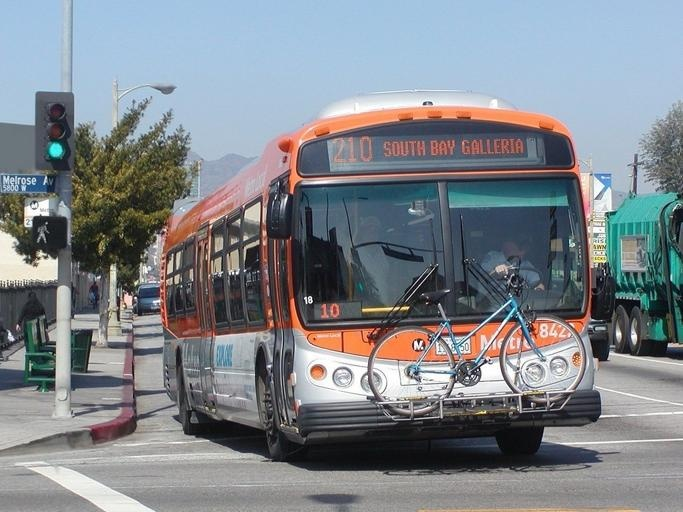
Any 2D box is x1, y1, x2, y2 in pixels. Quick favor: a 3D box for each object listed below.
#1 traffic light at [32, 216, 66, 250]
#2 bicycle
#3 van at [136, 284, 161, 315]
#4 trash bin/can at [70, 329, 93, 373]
[{"bbox_3d":[-5.035,-0.418,14.093,0.482,0.551,0.260,0,-3,-14],"label":"traffic light"},{"bbox_3d":[1.364,1.004,9.420,2.374,1.654,1.296,-4,-6,-9],"label":"bicycle"},{"bbox_3d":[-14.668,3.307,62.039,2.339,2.455,4.450,0,-8,-12],"label":"van"},{"bbox_3d":[-7.557,2.786,23.802,0.591,1.267,0.741,-4,0,-20],"label":"trash bin/can"}]
